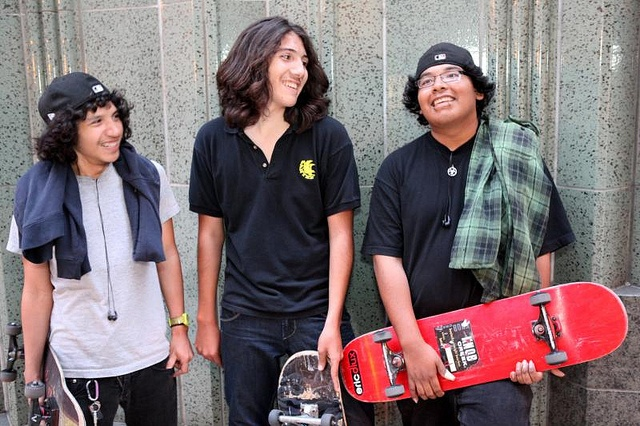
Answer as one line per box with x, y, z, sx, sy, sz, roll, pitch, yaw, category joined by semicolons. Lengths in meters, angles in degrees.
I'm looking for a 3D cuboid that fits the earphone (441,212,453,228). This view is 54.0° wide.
0.770;0.048;3.801;0.052;0.080;0.151;-3;35;8;earphone

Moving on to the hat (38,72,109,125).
-1.495;-0.673;3.721;0.375;0.206;0.259;-28;18;27;hat

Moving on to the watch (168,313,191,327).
-0.896;0.694;4.015;0.113;0.074;0.113;-17;-16;38;watch

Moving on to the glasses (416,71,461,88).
0.734;-0.813;3.838;0.277;0.073;0.056;-6;-4;12;glasses
